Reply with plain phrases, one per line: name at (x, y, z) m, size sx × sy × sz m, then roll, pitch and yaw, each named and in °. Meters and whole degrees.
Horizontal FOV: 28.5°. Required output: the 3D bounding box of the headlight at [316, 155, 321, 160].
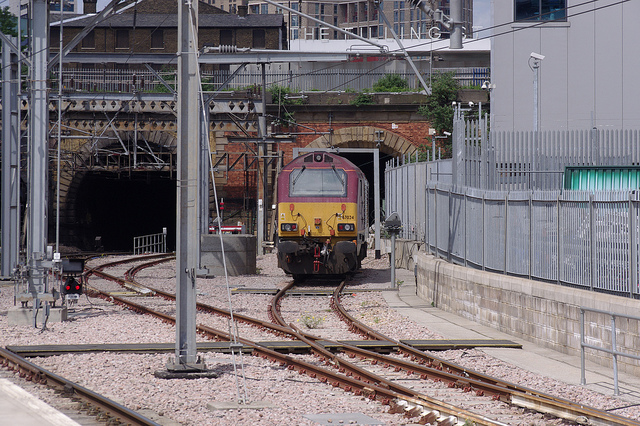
headlight at (-0.041, -1.996, 46.008) m, size 0.153 × 0.159 × 0.048 m, roll -3°, pitch -1°, yaw -4°

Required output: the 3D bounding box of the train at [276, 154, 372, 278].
train at (-0.023, 0.244, 46.726) m, size 2.682 × 3.340 × 11.274 m, roll 0°, pitch 0°, yaw 0°
